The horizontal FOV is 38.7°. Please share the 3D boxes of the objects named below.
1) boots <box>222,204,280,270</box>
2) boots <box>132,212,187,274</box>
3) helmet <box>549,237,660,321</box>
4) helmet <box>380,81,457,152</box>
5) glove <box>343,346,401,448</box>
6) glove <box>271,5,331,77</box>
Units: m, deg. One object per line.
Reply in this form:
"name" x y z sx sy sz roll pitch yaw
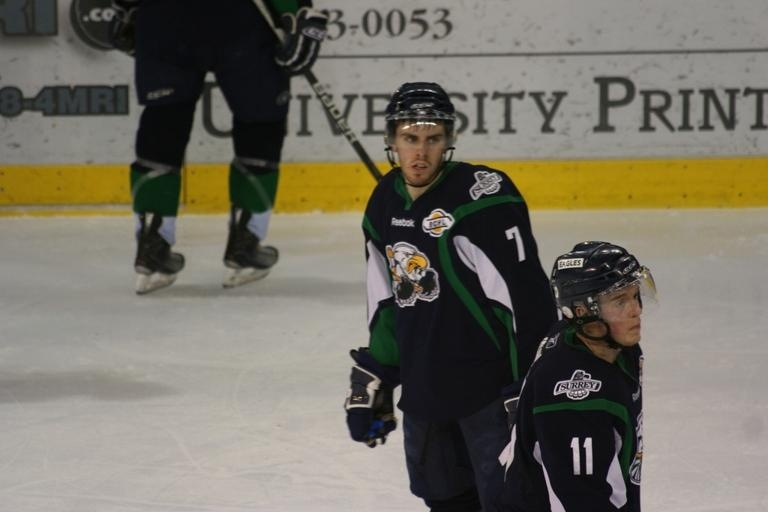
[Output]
"boots" -0.839 -0.115 6.888 0.232 0.415 0.472 5 -1 36
"boots" -1.386 -0.067 6.746 0.210 0.365 0.407 6 2 26
"helmet" 0.900 0.134 4.435 0.423 0.363 0.328 0 14 42
"helmet" 0.152 -0.537 4.674 0.309 0.328 0.359 1 -11 -1
"glove" -0.076 0.609 4.690 0.291 0.371 0.189 15 4 32
"glove" -0.511 -1.312 6.691 0.317 0.398 0.151 2 5 -10
